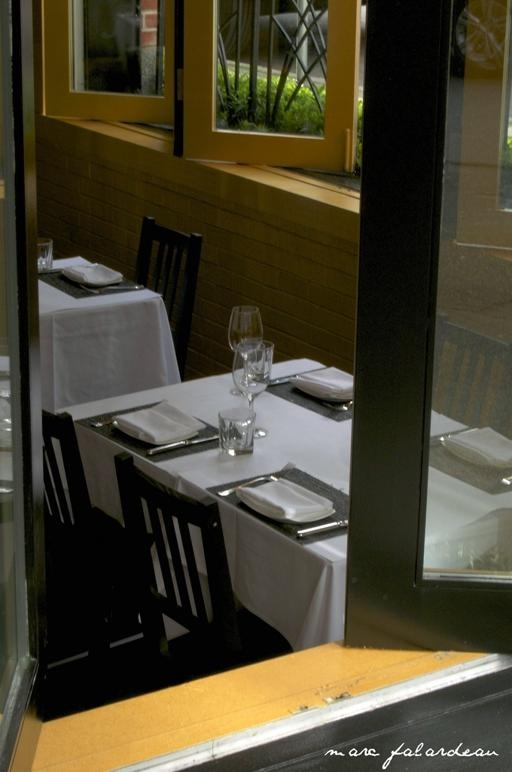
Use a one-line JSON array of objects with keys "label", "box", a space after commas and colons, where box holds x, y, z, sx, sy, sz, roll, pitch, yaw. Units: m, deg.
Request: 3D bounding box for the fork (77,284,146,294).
[{"label": "fork", "box": [-0.623, -0.414, 2.715, 0.182, 0.038, 0.035, -4, 26, -29]}]

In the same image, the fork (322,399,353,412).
[{"label": "fork", "box": [0.234, 0.057, 1.820, 0.048, 0.016, 0.040, -14, 30, -40]}]

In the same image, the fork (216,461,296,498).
[{"label": "fork", "box": [0.007, 0.214, 1.498, 0.066, 0.015, 0.258, 29, 33, 36]}]

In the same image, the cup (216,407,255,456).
[{"label": "cup", "box": [-0.045, 0.114, 1.633, 0.082, 0.107, 0.106, -3, 8, -23]}]
